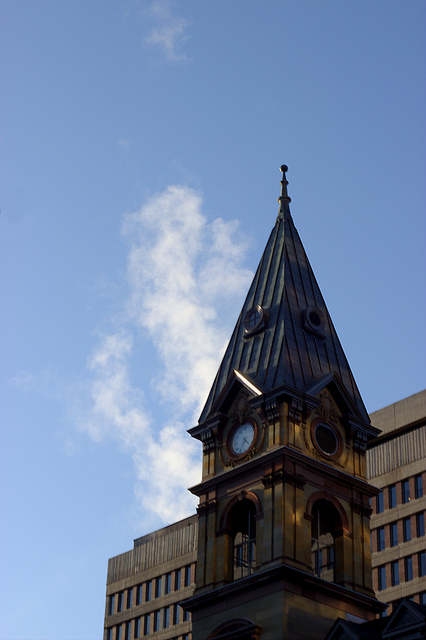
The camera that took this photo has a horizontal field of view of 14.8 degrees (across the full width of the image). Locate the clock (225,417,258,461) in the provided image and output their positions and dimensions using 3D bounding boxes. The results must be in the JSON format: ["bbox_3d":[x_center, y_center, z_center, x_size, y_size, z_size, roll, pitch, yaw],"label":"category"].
[{"bbox_3d":[1.304,5.136,70.357,1.972,2.211,0.186,-18,-42,41],"label":"clock"}]
